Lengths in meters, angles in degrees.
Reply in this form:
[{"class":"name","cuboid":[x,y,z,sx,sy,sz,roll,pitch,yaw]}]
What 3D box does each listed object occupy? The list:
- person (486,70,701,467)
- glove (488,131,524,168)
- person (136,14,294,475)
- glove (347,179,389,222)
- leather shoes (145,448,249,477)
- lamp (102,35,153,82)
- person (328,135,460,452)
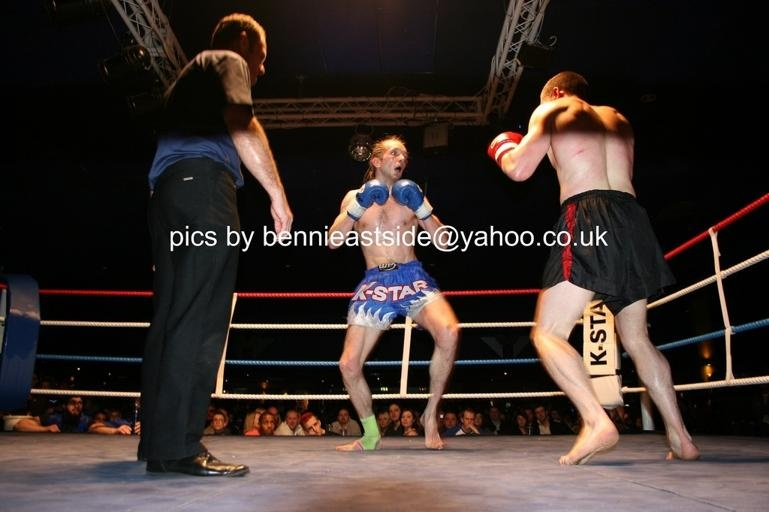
[{"class":"person","cuboid":[1.178,0.079,3.212,1.012,2.034,0.471,7,-20,-22]},{"class":"glove","cuboid":[0.718,-0.643,3.446,0.180,0.116,0.235,-19,9,32]},{"class":"person","cuboid":[-0.872,-0.006,2.769,0.743,2.002,0.456,-10,-21,27]},{"class":"glove","cuboid":[-0.121,-0.407,4.253,0.310,0.237,0.137,-46,-5,26]},{"class":"leather shoes","cuboid":[-0.846,0.955,2.683,0.482,0.167,0.161,0,-26,-1]},{"class":"lamp","cuboid":[-3.348,-2.578,7.553,0.571,0.490,0.446,-28,-16,-14]},{"class":"person","cuboid":[0.052,0.169,4.175,0.934,2.341,0.444,2,-18,-6]}]
